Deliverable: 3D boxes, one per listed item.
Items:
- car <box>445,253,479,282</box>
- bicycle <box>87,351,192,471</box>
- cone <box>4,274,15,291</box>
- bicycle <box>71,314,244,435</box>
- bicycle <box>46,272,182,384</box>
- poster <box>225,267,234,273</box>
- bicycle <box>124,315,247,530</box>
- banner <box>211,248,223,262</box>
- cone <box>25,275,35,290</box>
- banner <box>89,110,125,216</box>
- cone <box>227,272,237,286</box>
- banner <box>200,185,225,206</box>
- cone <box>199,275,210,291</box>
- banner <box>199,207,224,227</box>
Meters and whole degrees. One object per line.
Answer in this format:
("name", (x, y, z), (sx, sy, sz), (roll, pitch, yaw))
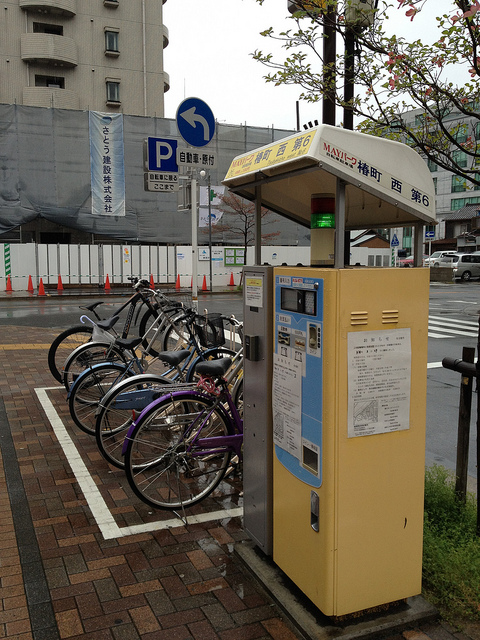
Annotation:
("car", (13.652, -3.279, 35.944), (1.843, 1.210, 1.199), (-13, 14, -10))
("bicycle", (-0.811, 0.641, 4.652), (0.562, 0.914, 1.237), (-7, -7, -45))
("cone", (-8.659, -1.332, 22.030), (0.365, 0.623, 0.391), (5, 9, 33))
("bicycle", (-0.714, 0.463, 5.594), (1.681, 1.272, 0.887), (-6, 23, -18))
("bicycle", (-1.458, 0.135, 7.298), (1.714, 1.199, 0.840), (-14, 30, -17))
("poster", (-0.500, -2.226, 26.326), (0.330, 0.235, 0.262), (-1, 8, 5))
("bicycle", (-0.303, 0.763, 4.253), (0.607, 1.000, 1.282), (8, 13, 39))
("banner", (-1.039, -2.883, 25.765), (0.258, 0.670, 0.592), (5, 5, 26))
("cone", (-8.052, -1.421, 22.594), (0.187, 0.504, 0.722), (-2, 8, -20))
("banner", (-6.174, -7.042, 26.866), (1.089, 5.938, 0.653), (-9, 16, -41))
("cone", (-0.278, -1.738, 25.415), (0.374, 0.654, 0.439), (2, 12, 12))
("banner", (-1.338, -5.934, 27.967), (0.943, 1.052, 2.578), (1, 8, 6))
("cone", (-1.369, -1.433, 23.382), (0.446, 0.729, 0.441), (0, 2, -43))
("banner", (-1.510, -4.923, 28.338), (0.820, 0.918, 1.857), (2, 8, 13))
